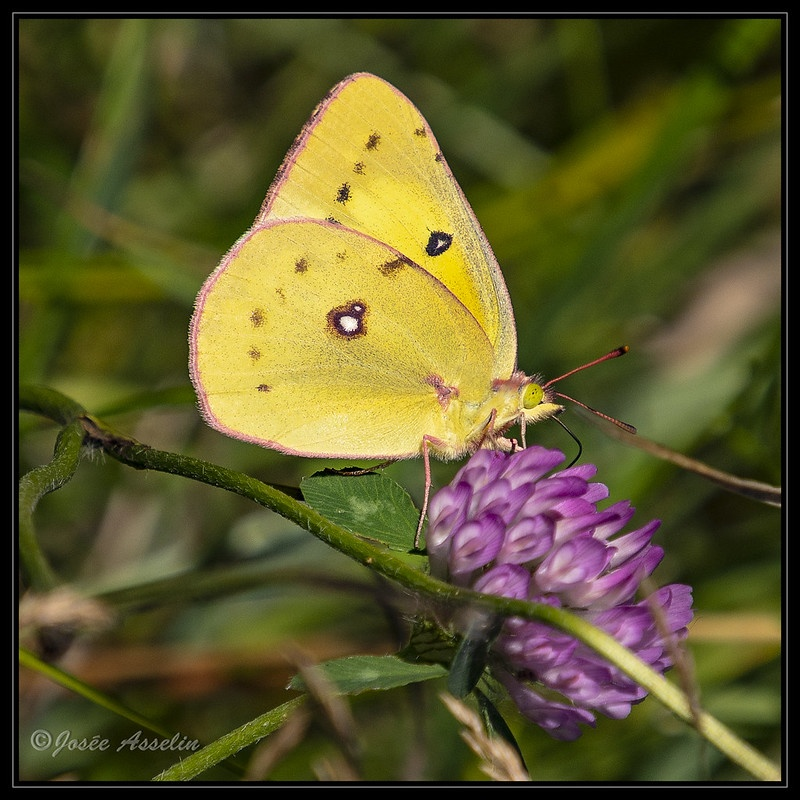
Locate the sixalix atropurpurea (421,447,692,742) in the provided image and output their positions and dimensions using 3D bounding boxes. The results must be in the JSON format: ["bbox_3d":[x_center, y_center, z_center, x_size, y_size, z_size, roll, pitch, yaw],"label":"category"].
[{"bbox_3d":[0.257,0.288,1.673,0.377,0.478,0.380,-31,-52,11],"label":"sixalix atropurpurea"}]
